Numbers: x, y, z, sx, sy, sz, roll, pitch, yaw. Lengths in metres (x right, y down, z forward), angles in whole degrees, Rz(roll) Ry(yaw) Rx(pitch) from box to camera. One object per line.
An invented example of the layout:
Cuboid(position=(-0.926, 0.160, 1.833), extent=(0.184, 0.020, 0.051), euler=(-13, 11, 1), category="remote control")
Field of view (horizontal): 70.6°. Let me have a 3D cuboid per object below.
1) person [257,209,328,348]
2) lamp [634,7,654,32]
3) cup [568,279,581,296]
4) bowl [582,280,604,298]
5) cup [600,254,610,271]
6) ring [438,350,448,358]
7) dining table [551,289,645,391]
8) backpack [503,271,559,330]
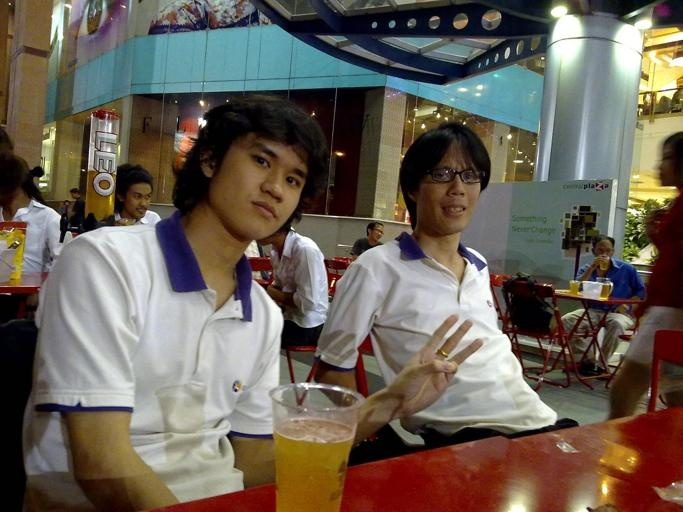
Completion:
Cuboid(position=(-0.350, 0.286, 4.074), extent=(0.776, 1.312, 0.734), euler=(4, -4, -11), category="person")
Cuboid(position=(3.744, -2.934, 5.978), extent=(0.170, 0.195, 0.175), euler=(-5, -42, 36), category="lamp")
Cuboid(position=(2.439, 0.335, 5.099), extent=(0.158, 0.172, 0.158), euler=(1, -2, 0), category="cup")
Cuboid(position=(2.575, 0.341, 4.935), extent=(0.182, 0.144, 0.184), euler=(1, 2, 0), category="bowl")
Cuboid(position=(3.012, 0.065, 5.542), extent=(0.128, 0.166, 0.130), euler=(-1, 19, 0), category="cup")
Cuboid(position=(0.270, 0.261, 1.285), extent=(0.019, 0.008, 0.019), euler=(27, 9, -5), category="ring")
Cuboid(position=(2.505, 0.822, 4.750), extent=(0.519, 0.723, 1.005), euler=(-2, 4, -21), category="dining table")
Cuboid(position=(1.867, 0.480, 4.934), extent=(0.596, 0.626, 0.437), euler=(-6, 9, -44), category="backpack")
